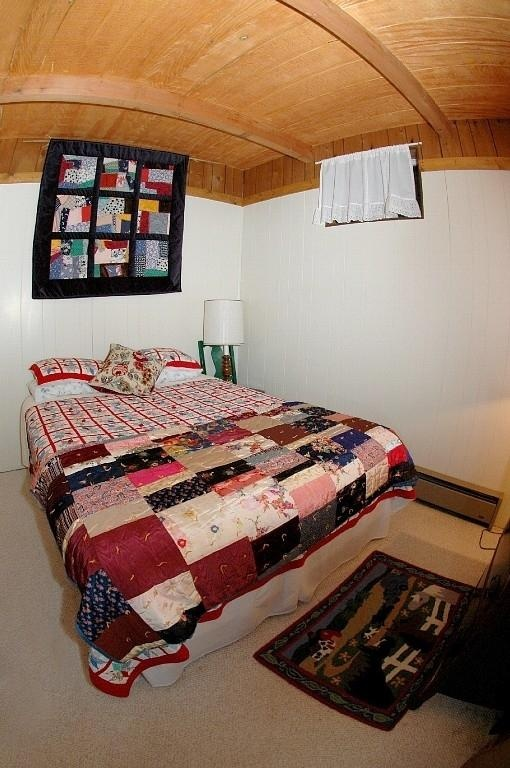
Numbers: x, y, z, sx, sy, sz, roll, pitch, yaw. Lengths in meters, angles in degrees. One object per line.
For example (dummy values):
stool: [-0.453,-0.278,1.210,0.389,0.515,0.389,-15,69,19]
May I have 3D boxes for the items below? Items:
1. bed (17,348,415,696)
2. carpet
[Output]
bed: [-0.256,0.483,2.806,1.459,0.445,1.862,-19,17,-27]
carpet: [0.433,0.997,2.128,0.383,0.011,0.665,12,18,36]
